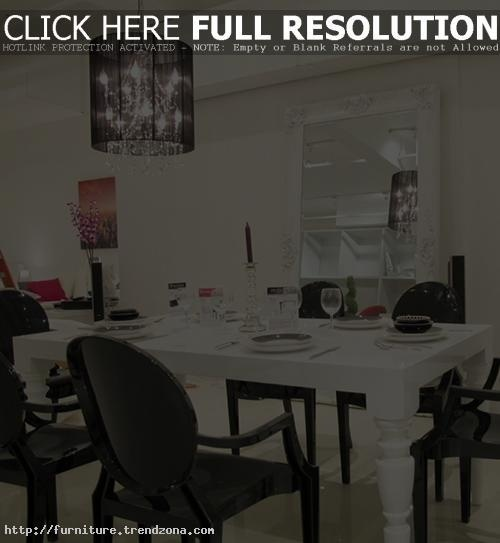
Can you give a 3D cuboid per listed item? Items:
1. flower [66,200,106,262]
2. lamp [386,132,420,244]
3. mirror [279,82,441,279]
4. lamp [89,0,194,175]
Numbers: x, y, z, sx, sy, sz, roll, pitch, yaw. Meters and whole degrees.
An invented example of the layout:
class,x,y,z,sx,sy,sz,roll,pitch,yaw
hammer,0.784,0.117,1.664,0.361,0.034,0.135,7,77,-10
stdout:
class,x,y,z,sx,sy,sz,roll,pitch,yaw
flower,-2.123,-0.520,6.443,0.415,0.850,1.233,-3,4,-20
lamp,1.340,-0.738,4.366,0.235,0.964,0.266,10,-9,-7
mirror,1.033,-0.785,4.431,1.547,2.105,0.126,-1,-2,39
lamp,-0.610,-0.913,2.773,0.575,0.793,0.613,-1,1,-21
